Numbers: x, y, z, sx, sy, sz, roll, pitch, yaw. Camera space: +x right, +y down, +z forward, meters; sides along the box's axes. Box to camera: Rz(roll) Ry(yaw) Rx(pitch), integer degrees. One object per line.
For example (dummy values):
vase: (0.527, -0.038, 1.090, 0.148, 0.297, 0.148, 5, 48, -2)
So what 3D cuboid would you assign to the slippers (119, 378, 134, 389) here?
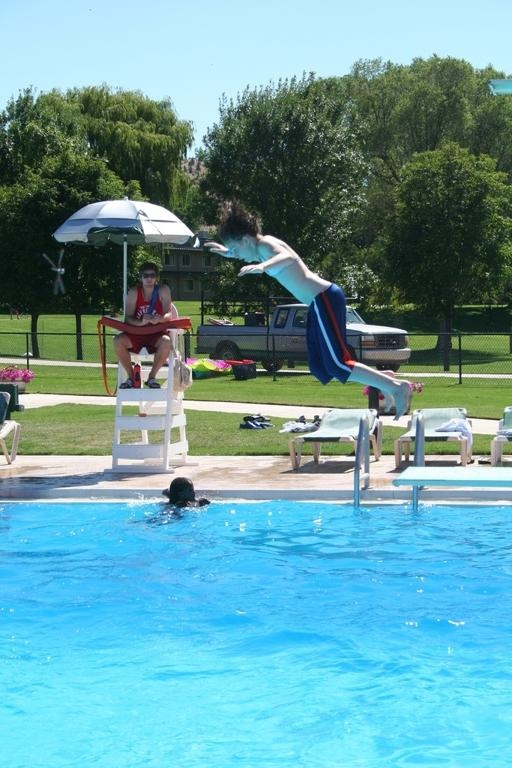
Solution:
slippers: (-1.358, 0.000, 12.099, 0.072, 0.075, 0.171, -3, 6, -20)

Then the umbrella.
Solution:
umbrella: (-1.914, -2.001, 16.494, 2.128, 1.817, 2.159, 0, 6, -7)

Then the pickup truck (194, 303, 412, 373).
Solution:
pickup truck: (1.119, -1.106, 28.333, 4.889, 1.866, 2.262, 0, 4, 33)
